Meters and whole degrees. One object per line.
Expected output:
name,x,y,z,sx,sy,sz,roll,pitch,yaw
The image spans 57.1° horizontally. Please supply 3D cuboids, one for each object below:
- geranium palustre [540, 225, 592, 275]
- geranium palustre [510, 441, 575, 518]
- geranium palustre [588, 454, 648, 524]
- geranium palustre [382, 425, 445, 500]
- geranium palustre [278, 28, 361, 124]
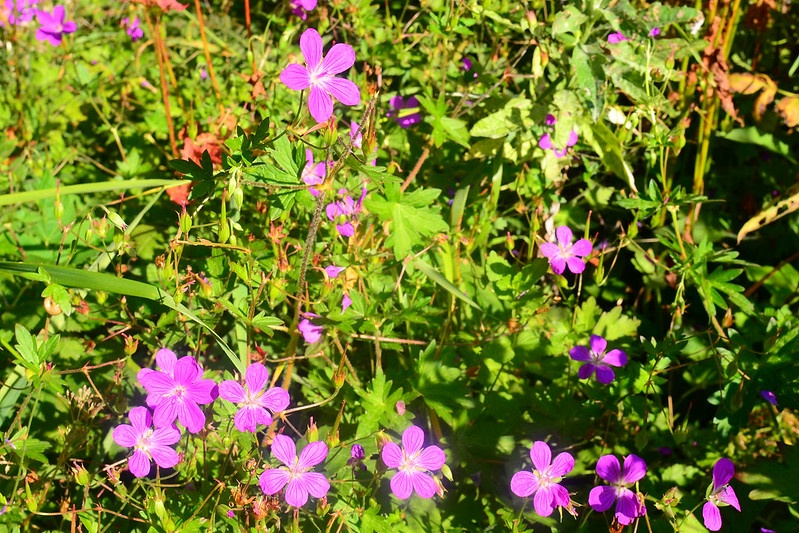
geranium palustre,0.681,-0.056,2.984,0.189,0.047,0.199,-41,90,-10
geranium palustre,0.546,0.821,2.795,0.225,0.097,0.298,20,94,-12
geranium palustre,0.846,0.838,2.832,0.196,0.150,0.215,18,54,8
geranium palustre,0.049,0.755,2.736,0.232,0.279,0.193,8,50,1
geranium palustre,-0.253,-0.651,2.611,0.269,0.249,0.274,25,55,13
